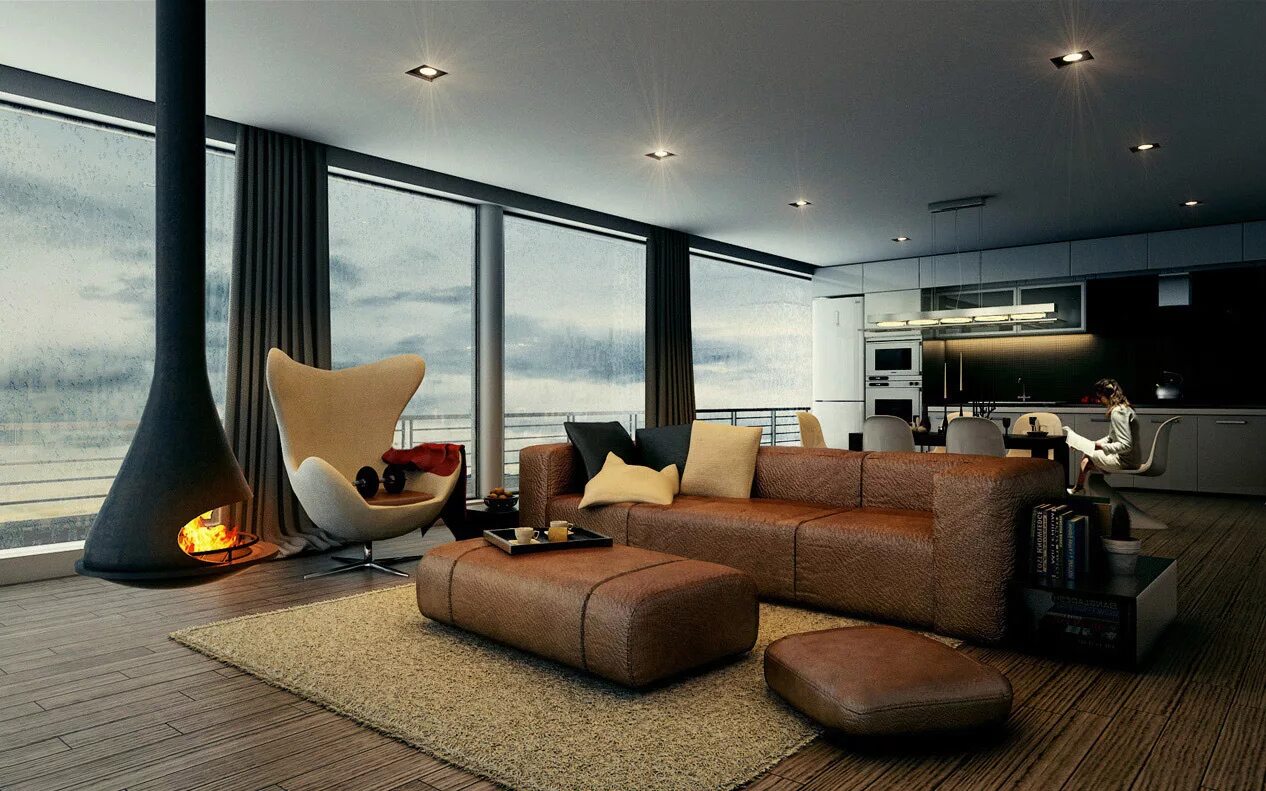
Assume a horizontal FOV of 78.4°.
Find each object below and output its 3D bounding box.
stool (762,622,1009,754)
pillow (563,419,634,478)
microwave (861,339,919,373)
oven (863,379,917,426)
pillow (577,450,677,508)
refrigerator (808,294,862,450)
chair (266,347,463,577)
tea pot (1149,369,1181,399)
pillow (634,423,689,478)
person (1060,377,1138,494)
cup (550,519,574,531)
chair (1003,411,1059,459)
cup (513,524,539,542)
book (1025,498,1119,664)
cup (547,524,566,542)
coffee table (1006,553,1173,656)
[{"bbox_3d":[1.183,1.358,3.722,1.040,0.326,0.526,-2,12,-7],"label":"stool"},{"bbox_3d":[-0.297,0.373,6.005,0.150,0.457,0.510,-32,-11,37],"label":"pillow"},{"bbox_3d":[3.602,-0.527,10.884,0.443,0.546,0.800,3,-4,-44],"label":"microwave"},{"bbox_3d":[3.302,0.082,9.934,0.571,0.523,0.322,-3,-6,39],"label":"oven"},{"bbox_3d":[-0.046,0.622,5.635,0.448,0.129,0.433,2,20,13],"label":"pillow"},{"bbox_3d":[2.926,-0.354,11.349,0.882,2.191,0.558,5,14,26],"label":"refrigerator"},{"bbox_3d":[-2.002,0.454,5.848,1.249,1.529,1.410,3,3,27],"label":"chair"},{"bbox_3d":[6.294,-0.143,9.229,0.295,0.293,0.259,8,14,34],"label":"tea pot"},{"bbox_3d":[0.222,0.413,6.105,0.393,0.369,0.270,1,-22,21],"label":"pillow"},{"bbox_3d":[3.887,0.384,6.494,0.520,1.143,1.195,5,13,26],"label":"person"},{"bbox_3d":[-0.455,0.779,4.724,0.123,0.082,0.163,-1,-9,4],"label":"cup"},{"bbox_3d":[3.719,0.383,7.283,0.499,0.618,0.387,9,-11,-43],"label":"chair"},{"bbox_3d":[-0.658,0.815,4.613,0.092,0.068,0.120,-3,-6,28],"label":"cup"},{"bbox_3d":[2.459,1.003,4.355,0.538,0.741,0.235,-4,-6,31],"label":"book"},{"bbox_3d":[-0.462,0.816,4.606,0.094,0.057,0.094,0,2,0],"label":"cup"},{"bbox_3d":[2.598,1.019,4.338,0.736,0.341,0.503,0,4,43],"label":"coffee table"}]
